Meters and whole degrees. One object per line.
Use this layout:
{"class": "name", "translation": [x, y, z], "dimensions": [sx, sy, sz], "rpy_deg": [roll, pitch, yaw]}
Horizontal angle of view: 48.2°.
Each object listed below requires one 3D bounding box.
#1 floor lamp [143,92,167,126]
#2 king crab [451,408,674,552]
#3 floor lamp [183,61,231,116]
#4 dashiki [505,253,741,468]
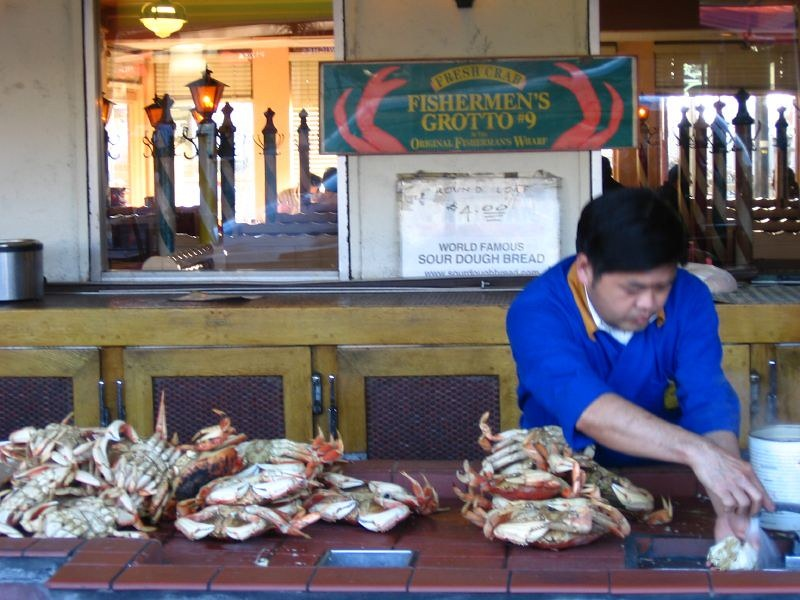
{"class": "floor lamp", "translation": [-1.247, -0.990, 4.605], "dimensions": [0.136, 0.155, 0.148], "rpy_deg": [0, 10, -2]}
{"class": "king crab", "translation": [0.347, 0.417, 1.965], "dimensions": [0.288, 0.113, 0.314], "rpy_deg": [-18, 22, -35]}
{"class": "floor lamp", "translation": [-0.996, -1.062, 4.601], "dimensions": [0.222, 0.291, 0.201], "rpy_deg": [-1, 11, -2]}
{"class": "dashiki", "translation": [0.565, 0.136, 2.341], "dimensions": [0.465, 0.418, 0.624], "rpy_deg": [-5, 18, 1]}
